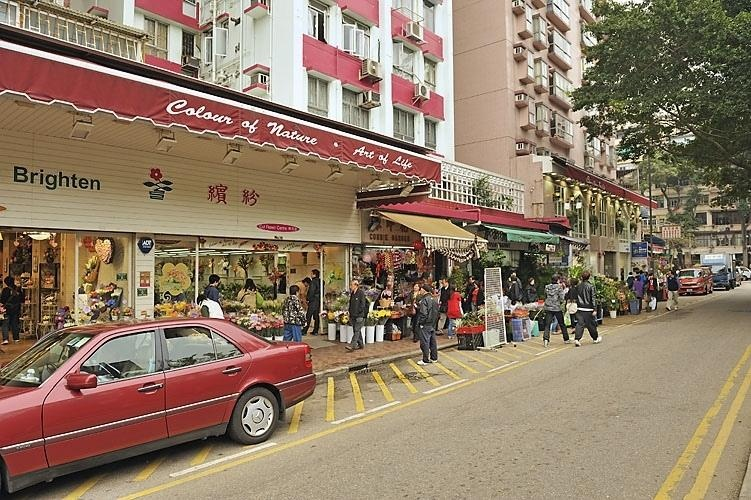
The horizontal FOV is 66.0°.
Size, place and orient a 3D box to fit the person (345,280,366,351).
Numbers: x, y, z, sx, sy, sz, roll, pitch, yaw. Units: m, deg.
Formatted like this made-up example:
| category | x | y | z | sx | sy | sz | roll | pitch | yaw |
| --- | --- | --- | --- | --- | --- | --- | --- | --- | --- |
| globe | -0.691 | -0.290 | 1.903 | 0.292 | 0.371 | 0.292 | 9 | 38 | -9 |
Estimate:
| category | x | y | z | sx | sy | sz | roll | pitch | yaw |
| --- | --- | --- | --- | --- | --- | --- | --- | --- | --- |
| person | -0.575 | 1.929 | 17.602 | 0.612 | 2.066 | 1.282 | -2 | 4 | -2 |

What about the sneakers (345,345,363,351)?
| category | x | y | z | sx | sy | sz | roll | pitch | yaw |
| --- | --- | --- | --- | --- | --- | --- | --- | --- | --- |
| sneakers | -0.639 | 2.958 | 17.330 | 0.497 | 0.207 | 0.165 | 13 | -19 | -27 |

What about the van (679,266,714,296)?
| category | x | y | z | sx | sy | sz | roll | pitch | yaw |
| --- | --- | --- | --- | --- | --- | --- | --- | --- | --- |
| van | 21.411 | 2.207 | 39.020 | 1.527 | 1.363 | 3.362 | -6 | -10 | 34 |

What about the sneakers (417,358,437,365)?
| category | x | y | z | sx | sy | sz | roll | pitch | yaw |
| --- | --- | --- | --- | --- | --- | --- | --- | --- | --- |
| sneakers | 1.372 | 3.077 | 15.750 | 0.518 | 0.219 | 0.188 | -4 | -2 | 13 |

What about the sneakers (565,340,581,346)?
| category | x | y | z | sx | sy | sz | roll | pitch | yaw |
| --- | --- | --- | --- | --- | --- | --- | --- | --- | --- |
| sneakers | 6.151 | 2.920 | 18.159 | 0.443 | 0.185 | 0.163 | -3 | 0 | -4 |

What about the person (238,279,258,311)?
| category | x | y | z | sx | sy | sz | roll | pitch | yaw |
| --- | --- | --- | --- | --- | --- | --- | --- | --- | --- |
| person | -4.094 | 1.459 | 18.268 | 0.417 | 1.028 | 0.517 | 22 | -35 | -32 |

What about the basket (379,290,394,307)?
| category | x | y | z | sx | sy | sz | roll | pitch | yaw |
| --- | --- | --- | --- | --- | --- | --- | --- | --- | --- |
| basket | 0.318 | 1.714 | 19.744 | 0.505 | 0.561 | 0.489 | 4 | -11 | -10 |

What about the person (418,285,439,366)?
| category | x | y | z | sx | sy | sz | roll | pitch | yaw |
| --- | --- | --- | --- | --- | --- | --- | --- | --- | --- |
| person | 1.347 | 2.050 | 15.802 | 0.508 | 2.091 | 0.697 | 2 | 6 | 38 |
